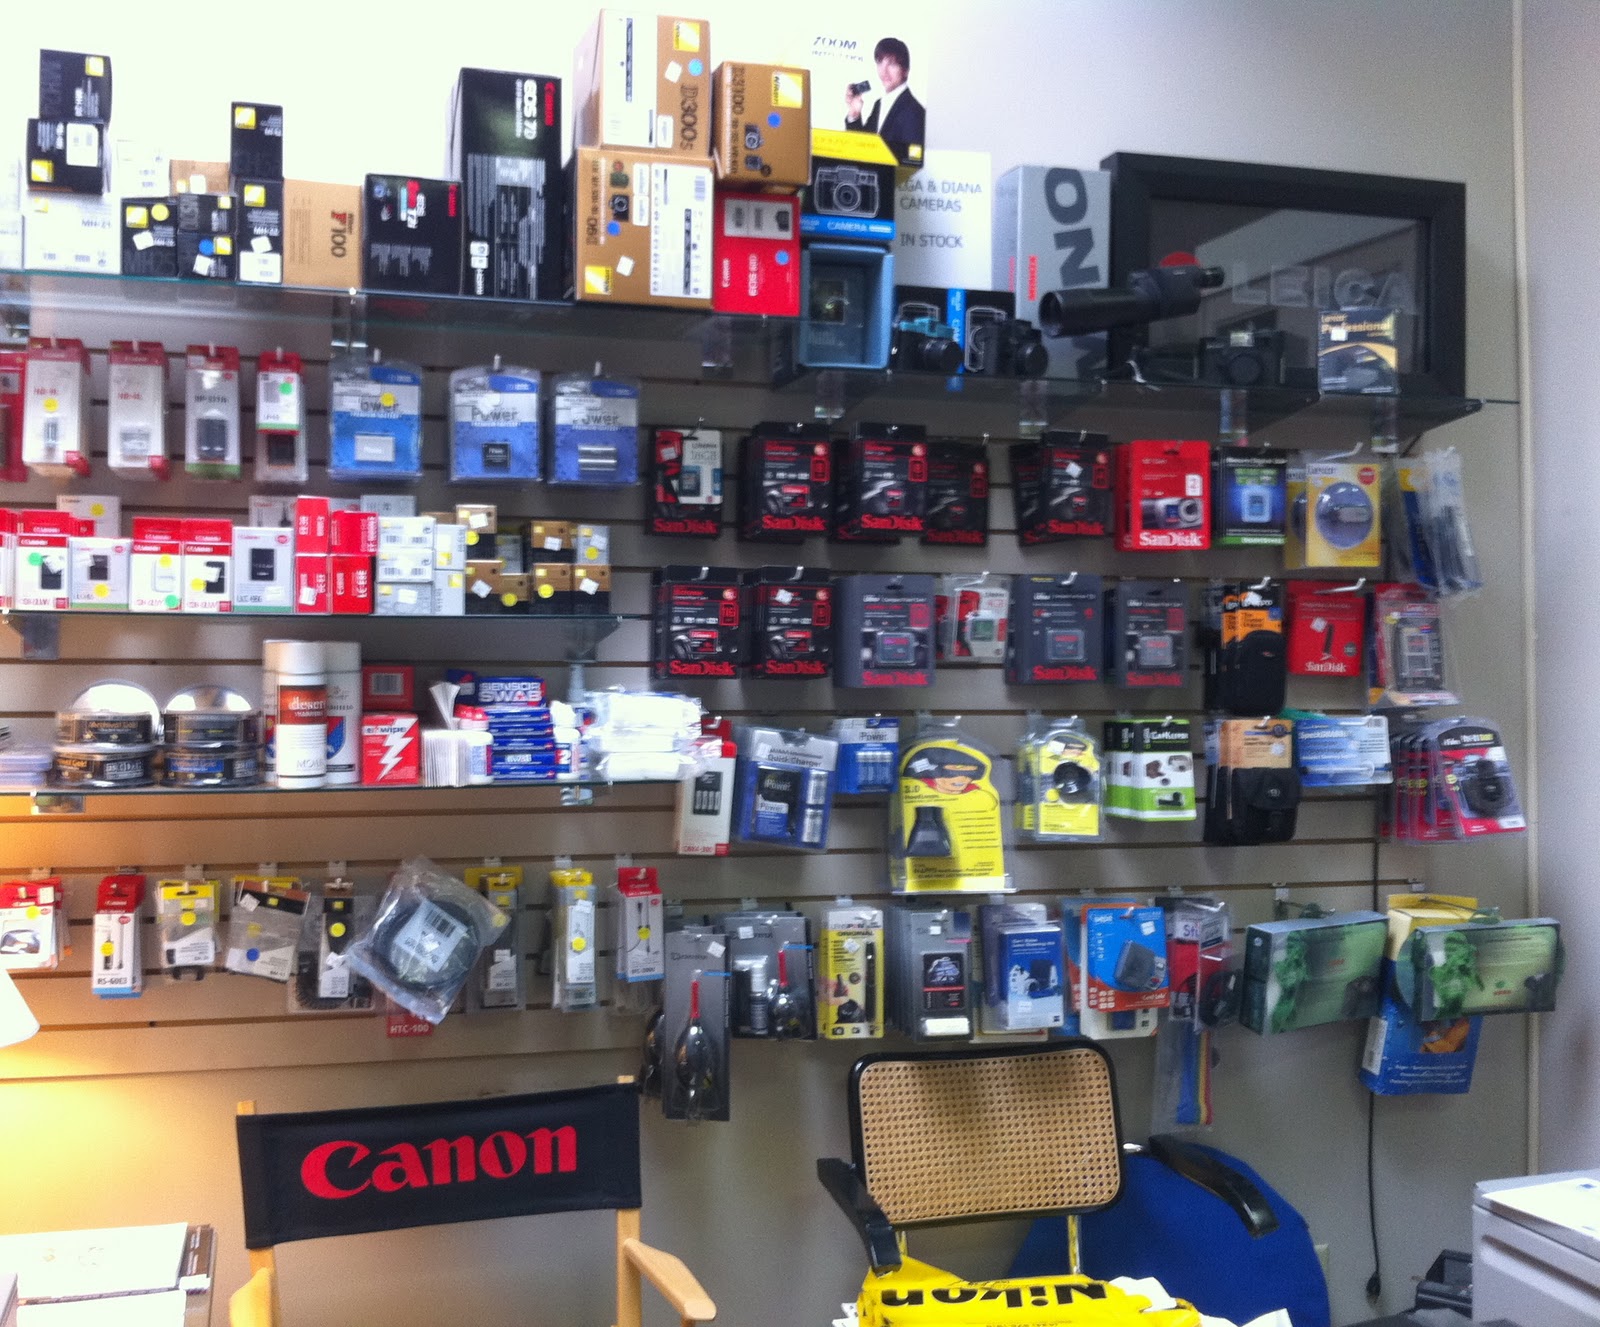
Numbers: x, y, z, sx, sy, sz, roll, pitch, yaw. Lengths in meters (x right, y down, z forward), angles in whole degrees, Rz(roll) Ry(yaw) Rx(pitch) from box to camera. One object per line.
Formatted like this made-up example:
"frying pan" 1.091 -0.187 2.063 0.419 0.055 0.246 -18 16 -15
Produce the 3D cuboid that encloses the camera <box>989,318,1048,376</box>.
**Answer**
"camera" 0.568 -0.817 4.230 0.141 0.150 0.135 -2 5 -37

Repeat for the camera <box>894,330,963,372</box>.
"camera" 0.318 -0.804 4.176 0.177 0.118 0.110 -2 6 3

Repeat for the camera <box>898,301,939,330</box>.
"camera" 0.305 -0.909 4.236 0.085 0.081 0.083 0 -12 -5

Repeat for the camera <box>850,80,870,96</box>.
"camera" 0.149 -1.478 4.162 0.051 0.031 0.009 -6 7 -24
